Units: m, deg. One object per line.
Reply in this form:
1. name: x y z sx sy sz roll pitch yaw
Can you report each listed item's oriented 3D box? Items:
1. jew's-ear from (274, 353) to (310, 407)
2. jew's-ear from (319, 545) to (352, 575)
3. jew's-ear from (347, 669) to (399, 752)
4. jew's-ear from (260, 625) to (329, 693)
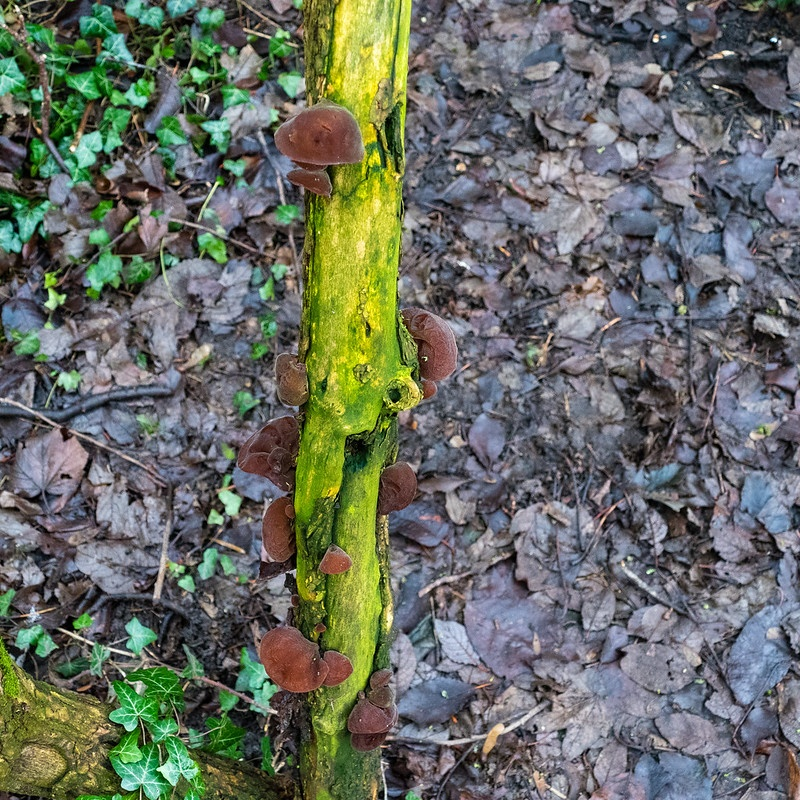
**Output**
1. jew's-ear: -0.449 -0.096 4.267 0.072 0.158 0.218 -15 84 -53
2. jew's-ear: -0.289 0.732 4.374 0.129 0.093 0.137 23 67 10
3. jew's-ear: -0.126 1.464 4.560 0.213 0.083 0.343 18 70 -10
4. jew's-ear: -0.506 1.201 4.432 0.295 0.108 0.276 38 46 6
